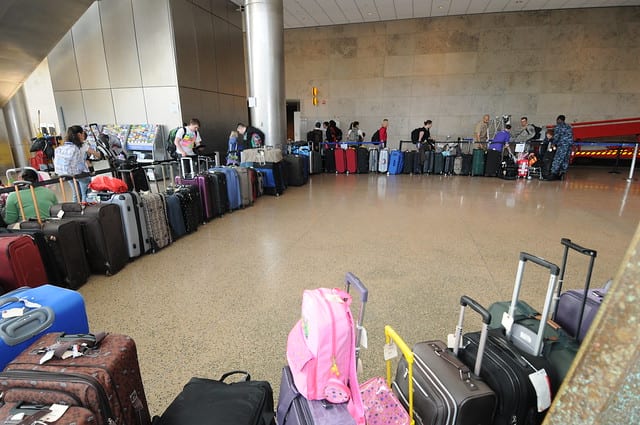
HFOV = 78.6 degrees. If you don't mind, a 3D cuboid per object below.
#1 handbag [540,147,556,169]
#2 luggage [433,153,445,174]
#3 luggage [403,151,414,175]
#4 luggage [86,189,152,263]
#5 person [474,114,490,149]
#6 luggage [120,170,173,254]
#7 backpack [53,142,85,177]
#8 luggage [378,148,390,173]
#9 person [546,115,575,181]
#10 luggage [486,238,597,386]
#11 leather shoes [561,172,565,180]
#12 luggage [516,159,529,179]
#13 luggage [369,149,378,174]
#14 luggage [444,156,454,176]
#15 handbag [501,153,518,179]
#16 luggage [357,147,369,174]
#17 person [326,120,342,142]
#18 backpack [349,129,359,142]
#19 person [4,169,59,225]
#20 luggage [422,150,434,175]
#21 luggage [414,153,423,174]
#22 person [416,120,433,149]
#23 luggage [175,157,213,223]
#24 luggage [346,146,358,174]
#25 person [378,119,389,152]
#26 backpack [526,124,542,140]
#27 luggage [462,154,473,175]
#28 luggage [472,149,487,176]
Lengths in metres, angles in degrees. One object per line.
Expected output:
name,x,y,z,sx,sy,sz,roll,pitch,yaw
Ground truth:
handbag,6.212,-1.484,10.730,0.367,0.743,0.510,-4,16,20
luggage,3.779,-1.557,12.343,0.320,0.659,0.129,2,16,10
luggage,2.826,-1.608,12.433,0.366,0.701,0.435,2,34,4
luggage,-2.958,0.293,5.669,0.577,1.062,0.954,-26,6,-10
person,5.557,-2.755,13.313,0.466,0.926,1.489,15,-6,26
luggage,-2.640,0.028,5.909,0.493,1.638,0.705,-1,27,-8
backpack,-4.015,-0.874,6.252,0.415,0.492,0.384,-11,18,-33
luggage,2.055,-1.690,12.532,0.275,0.832,0.508,2,22,6
person,6.582,-1.743,10.628,0.475,1.725,0.587,9,18,31
luggage,2.165,0.973,3.838,0.618,1.191,0.738,-8,29,-15
leather shoes,6.775,-1.022,10.892,0.056,0.213,0.140,-4,11,-29
luggage,5.819,-1.273,11.171,0.268,0.524,0.128,8,18,29
luggage,1.741,-1.687,12.696,0.291,0.886,0.518,0,23,5
luggage,4.063,-1.495,12.234,0.283,0.558,0.113,5,16,19
handbag,5.540,-1.349,11.389,0.455,0.649,0.761,4,16,17
luggage,1.433,-1.710,12.697,0.417,0.834,0.242,-2,15,-7
person,0.488,-2.745,13.233,0.440,0.691,1.341,1,15,4
backpack,1.146,-2.574,12.975,0.313,0.393,0.211,3,29,4
person,-3.813,-0.195,5.162,0.722,0.826,0.459,-5,33,-32
luggage,3.457,-1.608,12.382,0.340,0.707,0.262,2,15,8
luggage,3.134,-1.577,12.395,0.335,0.670,0.205,5,16,18
person,3.344,-2.514,12.476,0.373,0.827,0.915,3,16,13
luggage,-2.310,-0.419,7.217,0.683,1.223,0.402,2,17,8
luggage,1.044,-1.699,12.690,0.357,0.810,0.194,1,15,4
person,2.198,-2.726,13.552,0.393,1.603,0.735,-6,59,6
backpack,6.977,-2.632,12.770,0.404,0.573,0.784,-4,1,36
luggage,4.550,-1.510,12.043,0.452,0.724,0.243,-13,18,-32
luggage,4.854,-1.552,11.854,0.296,0.874,0.512,9,23,30
